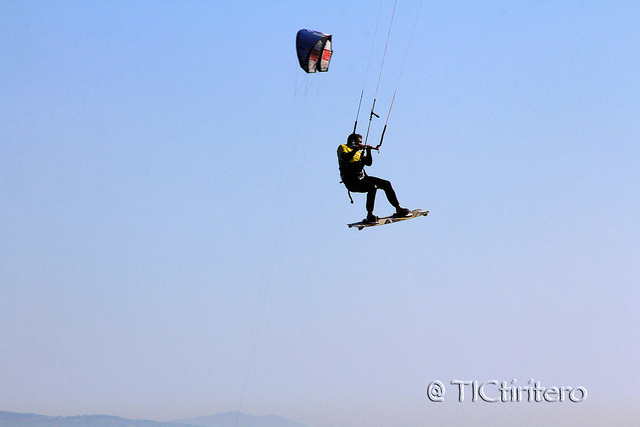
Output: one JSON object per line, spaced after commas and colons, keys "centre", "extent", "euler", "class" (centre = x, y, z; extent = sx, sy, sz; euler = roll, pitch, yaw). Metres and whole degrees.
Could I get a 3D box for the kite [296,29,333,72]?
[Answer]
{"centre": [-0.356, -8.378, 55.198], "extent": [2.001, 2.257, 1.790], "euler": [22, 17, 36], "class": "kite"}
